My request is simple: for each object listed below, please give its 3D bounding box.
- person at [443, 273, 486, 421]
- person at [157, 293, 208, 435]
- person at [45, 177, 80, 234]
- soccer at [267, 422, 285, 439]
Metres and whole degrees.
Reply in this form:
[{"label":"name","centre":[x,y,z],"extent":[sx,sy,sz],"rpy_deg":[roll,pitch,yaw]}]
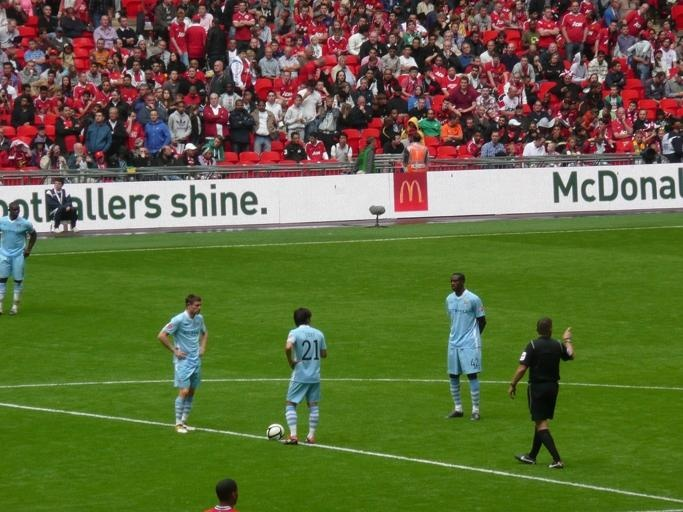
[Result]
[{"label":"person","centre":[2.900,2.195,38.058],"extent":[1.004,3.444,1.067],"rpy_deg":[0,1,38]},{"label":"person","centre":[-3.498,2.513,37.270],"extent":[0.726,3.102,1.334],"rpy_deg":[3,4,37]},{"label":"person","centre":[-9.273,-1.615,53.381],"extent":[0.913,1.820,1.244],"rpy_deg":[0,1,14]},{"label":"soccer","centre":[-1.437,3.985,36.228],"extent":[0.336,0.341,0.341],"rpy_deg":[0,1,37]}]
